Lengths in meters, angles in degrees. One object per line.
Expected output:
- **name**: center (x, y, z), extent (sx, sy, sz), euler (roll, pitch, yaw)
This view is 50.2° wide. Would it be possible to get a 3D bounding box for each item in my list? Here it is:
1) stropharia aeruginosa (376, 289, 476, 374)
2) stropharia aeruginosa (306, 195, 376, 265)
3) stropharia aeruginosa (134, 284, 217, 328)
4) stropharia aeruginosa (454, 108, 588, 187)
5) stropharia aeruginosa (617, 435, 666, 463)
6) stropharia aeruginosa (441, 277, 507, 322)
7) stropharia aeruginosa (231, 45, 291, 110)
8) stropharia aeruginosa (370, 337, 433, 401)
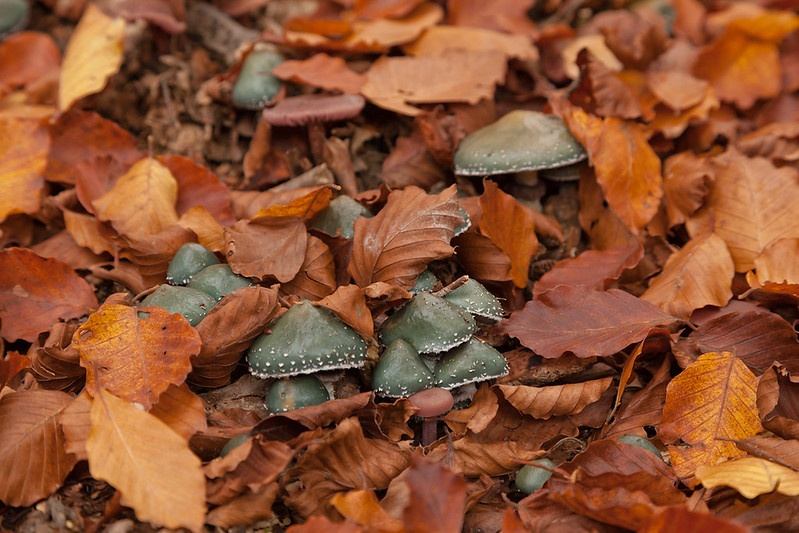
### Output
- **stropharia aeruginosa**: center (0.100, 0.174, 3.220), extent (0.370, 0.400, 0.172), euler (38, 137, 51)
- **stropharia aeruginosa**: center (-0.228, -0.168, 3.388), extent (0.237, 0.124, 0.230), euler (-42, 81, -7)
- **stropharia aeruginosa**: center (-0.811, 0.096, 3.164), extent (0.265, 0.276, 0.092), euler (19, 110, -4)
- **stropharia aeruginosa**: center (0.509, -0.529, 3.698), extent (0.560, 0.198, 0.285), euler (-5, 79, -1)
- **stropharia aeruginosa**: center (0.861, 0.627, 3.043), extent (0.116, 0.102, 0.066), euler (19, 91, -5)
- **stropharia aeruginosa**: center (0.291, 0.132, 3.320), extent (0.169, 0.172, 0.083), euler (4, 99, 37)
- **stropharia aeruginosa**: center (-0.622, -0.817, 3.744), extent (0.199, 0.086, 0.273), euler (12, 85, 19)
- **stropharia aeruginosa**: center (0.037, 0.363, 3.164), extent (0.259, 0.264, 0.187), euler (-6, 97, 32)
